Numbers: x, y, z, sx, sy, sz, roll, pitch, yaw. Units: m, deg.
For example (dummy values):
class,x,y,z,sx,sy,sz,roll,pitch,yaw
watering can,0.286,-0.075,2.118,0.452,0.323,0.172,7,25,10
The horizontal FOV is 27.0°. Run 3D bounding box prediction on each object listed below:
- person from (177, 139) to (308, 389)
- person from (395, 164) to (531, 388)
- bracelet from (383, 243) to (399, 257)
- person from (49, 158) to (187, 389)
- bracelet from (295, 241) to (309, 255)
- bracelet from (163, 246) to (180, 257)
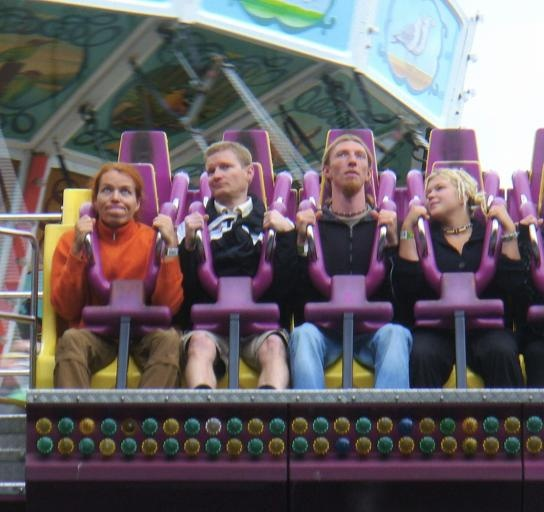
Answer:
class,x,y,z,sx,sy,sz,roll,pitch,yaw
person,-0.198,0.009,6.397,0.653,1.431,0.995,1,-3,-5
person,1.027,0.094,6.274,0.729,1.246,0.738,0,-3,12
bracelet,0.660,-0.028,6.407,0.088,0.123,0.066,-4,0,10
person,-0.863,0.079,6.230,0.743,1.263,0.807,0,-3,-2
bracelet,0.156,-0.035,6.355,0.055,0.067,0.076,1,-41,2
bracelet,-0.550,-0.020,6.217,0.063,0.049,0.072,0,6,-1
